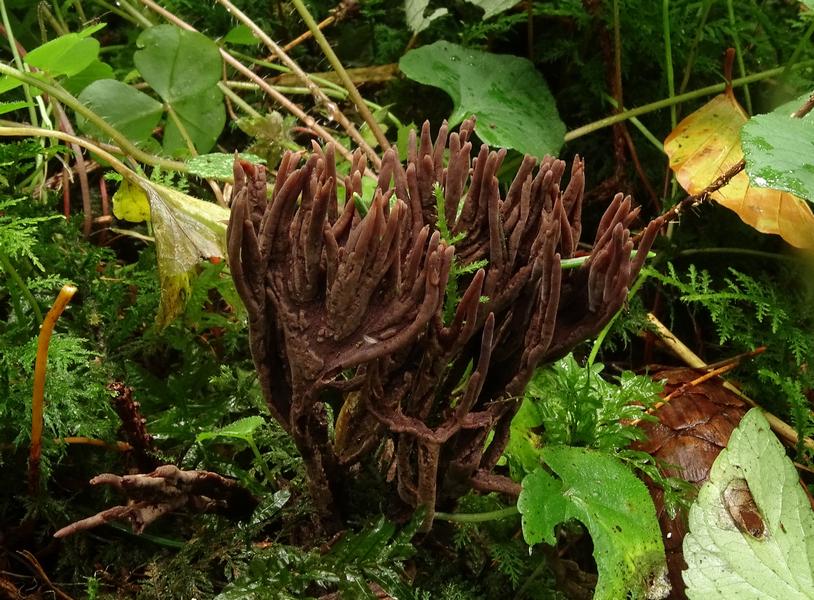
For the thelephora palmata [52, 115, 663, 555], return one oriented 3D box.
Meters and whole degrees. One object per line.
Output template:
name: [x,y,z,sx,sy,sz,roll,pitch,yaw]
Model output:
thelephora palmata: [-0.144,-0.056,1.571,0.832,0.721,0.825,-2,21,-37]
